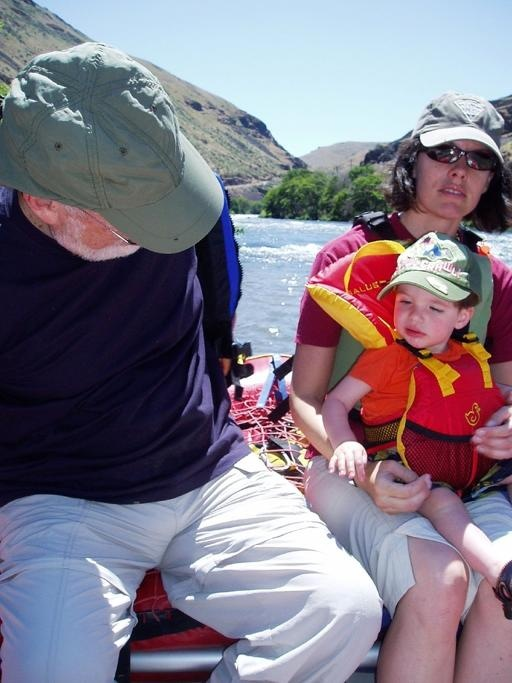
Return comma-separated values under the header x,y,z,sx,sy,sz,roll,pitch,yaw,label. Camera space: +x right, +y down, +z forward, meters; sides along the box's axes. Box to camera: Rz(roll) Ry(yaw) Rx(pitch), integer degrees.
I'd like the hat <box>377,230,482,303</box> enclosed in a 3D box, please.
x,y,z,sx,sy,sz,roll,pitch,yaw,label
0.689,-0.268,2.261,0.265,0.185,0.366,15,4,43,hat
